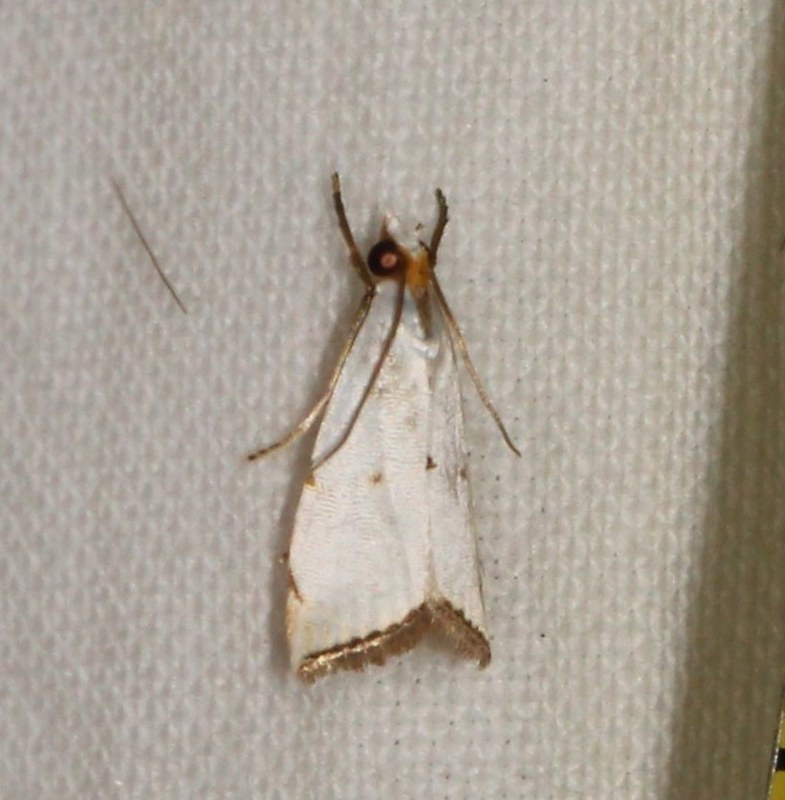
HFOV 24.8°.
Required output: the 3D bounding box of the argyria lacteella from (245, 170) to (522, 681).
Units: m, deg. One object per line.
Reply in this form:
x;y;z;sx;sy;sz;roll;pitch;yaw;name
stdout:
-0.001;0.037;2.106;0.200;0.114;0.616;-1;92;-5;argyria lacteella
